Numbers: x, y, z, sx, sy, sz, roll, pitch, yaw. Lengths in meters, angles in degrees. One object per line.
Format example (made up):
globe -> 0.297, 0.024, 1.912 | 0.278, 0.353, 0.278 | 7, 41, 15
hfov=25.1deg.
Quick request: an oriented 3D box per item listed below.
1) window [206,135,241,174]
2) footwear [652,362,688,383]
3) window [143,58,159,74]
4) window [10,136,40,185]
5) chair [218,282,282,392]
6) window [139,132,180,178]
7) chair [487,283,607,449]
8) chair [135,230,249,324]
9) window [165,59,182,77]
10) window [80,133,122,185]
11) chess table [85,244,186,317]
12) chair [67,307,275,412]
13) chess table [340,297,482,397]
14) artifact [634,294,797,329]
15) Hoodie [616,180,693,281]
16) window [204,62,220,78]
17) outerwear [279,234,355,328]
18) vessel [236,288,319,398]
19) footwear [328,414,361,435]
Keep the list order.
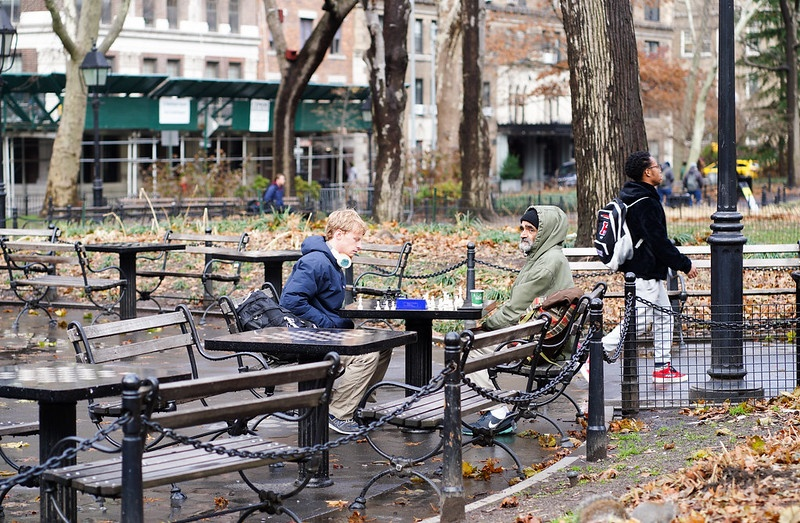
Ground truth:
window -> -6.984, -4.164, 71.087 | 0.270, 1.216, 1.986 | 1, 3, 26
footwear -> 6.398, 2.647, 41.809 | 0.979, 0.500, 0.362 | 0, 3, -14
window -> -10.342, -8.044, 74.624 | 0.383, 0.696, 0.786 | -3, 1, 44
window -> -14.919, -3.943, 71.588 | 0.235, 2.427, 1.825 | 2, 5, 33
chair -> -3.305, 1.824, 40.230 | 1.263, 1.715, 2.129 | -7, 9, 21
window -> -9.426, -4.187, 70.942 | 1.699, 1.715, 4.462 | -3, 1, -7
chair -> 3.387, 2.111, 41.383 | 2.440, 3.631, 2.543 | 4, 12, 17
chair -> -5.294, 0.320, 47.459 | 2.497, 1.921, 1.600 | 2, 7, 19
window -> -9.436, -8.019, 75.437 | 0.699, 0.713, 0.406 | -4, 1, -21
window -> -11.430, -3.884, 68.681 | 2.368, 2.486, 0.138 | 2, 10, 8
chess table -> -6.674, 0.643, 46.403 | 1.981, 1.978, 2.033 | 2, 2, 33
chair -> -5.907, 1.782, 40.009 | 2.468, 2.275, 3.971 | 1, 5, 39
chess table -> 0.491, 2.234, 41.119 | 2.634, 2.287, 2.664 | 2, -2, 16
artifact -> 7.286, 1.176, 41.212 | 3.748, 0.790, 2.018 | -3, 1, 7
Hoodie -> 6.101, -0.719, 42.822 | 1.902, 2.425, 1.971 | -2, 5, 3
window -> -8.021, -8.155, 77.131 | 0.699, 0.729, 1.294 | 0, 1, -5
outerwear -> -1.790, 0.616, 41.381 | 1.669, 2.235, 2.664 | 7, -1, 16
vessel -> -2.725, 1.501, 40.461 | 1.482, 1.075, 2.363 | -22, 24, -37
footwear -> -1.259, 3.737, 40.391 | 0.840, 0.402, 0.345 | 1, -4, 6
